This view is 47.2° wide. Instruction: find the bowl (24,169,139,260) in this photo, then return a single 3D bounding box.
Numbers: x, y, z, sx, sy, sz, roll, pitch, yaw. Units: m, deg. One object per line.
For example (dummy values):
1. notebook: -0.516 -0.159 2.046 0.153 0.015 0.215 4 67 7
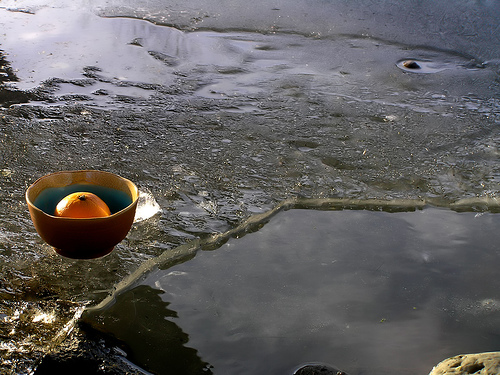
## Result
1. bowl: -0.529 0.093 1.792 0.470 0.207 0.472 1 24 -1
